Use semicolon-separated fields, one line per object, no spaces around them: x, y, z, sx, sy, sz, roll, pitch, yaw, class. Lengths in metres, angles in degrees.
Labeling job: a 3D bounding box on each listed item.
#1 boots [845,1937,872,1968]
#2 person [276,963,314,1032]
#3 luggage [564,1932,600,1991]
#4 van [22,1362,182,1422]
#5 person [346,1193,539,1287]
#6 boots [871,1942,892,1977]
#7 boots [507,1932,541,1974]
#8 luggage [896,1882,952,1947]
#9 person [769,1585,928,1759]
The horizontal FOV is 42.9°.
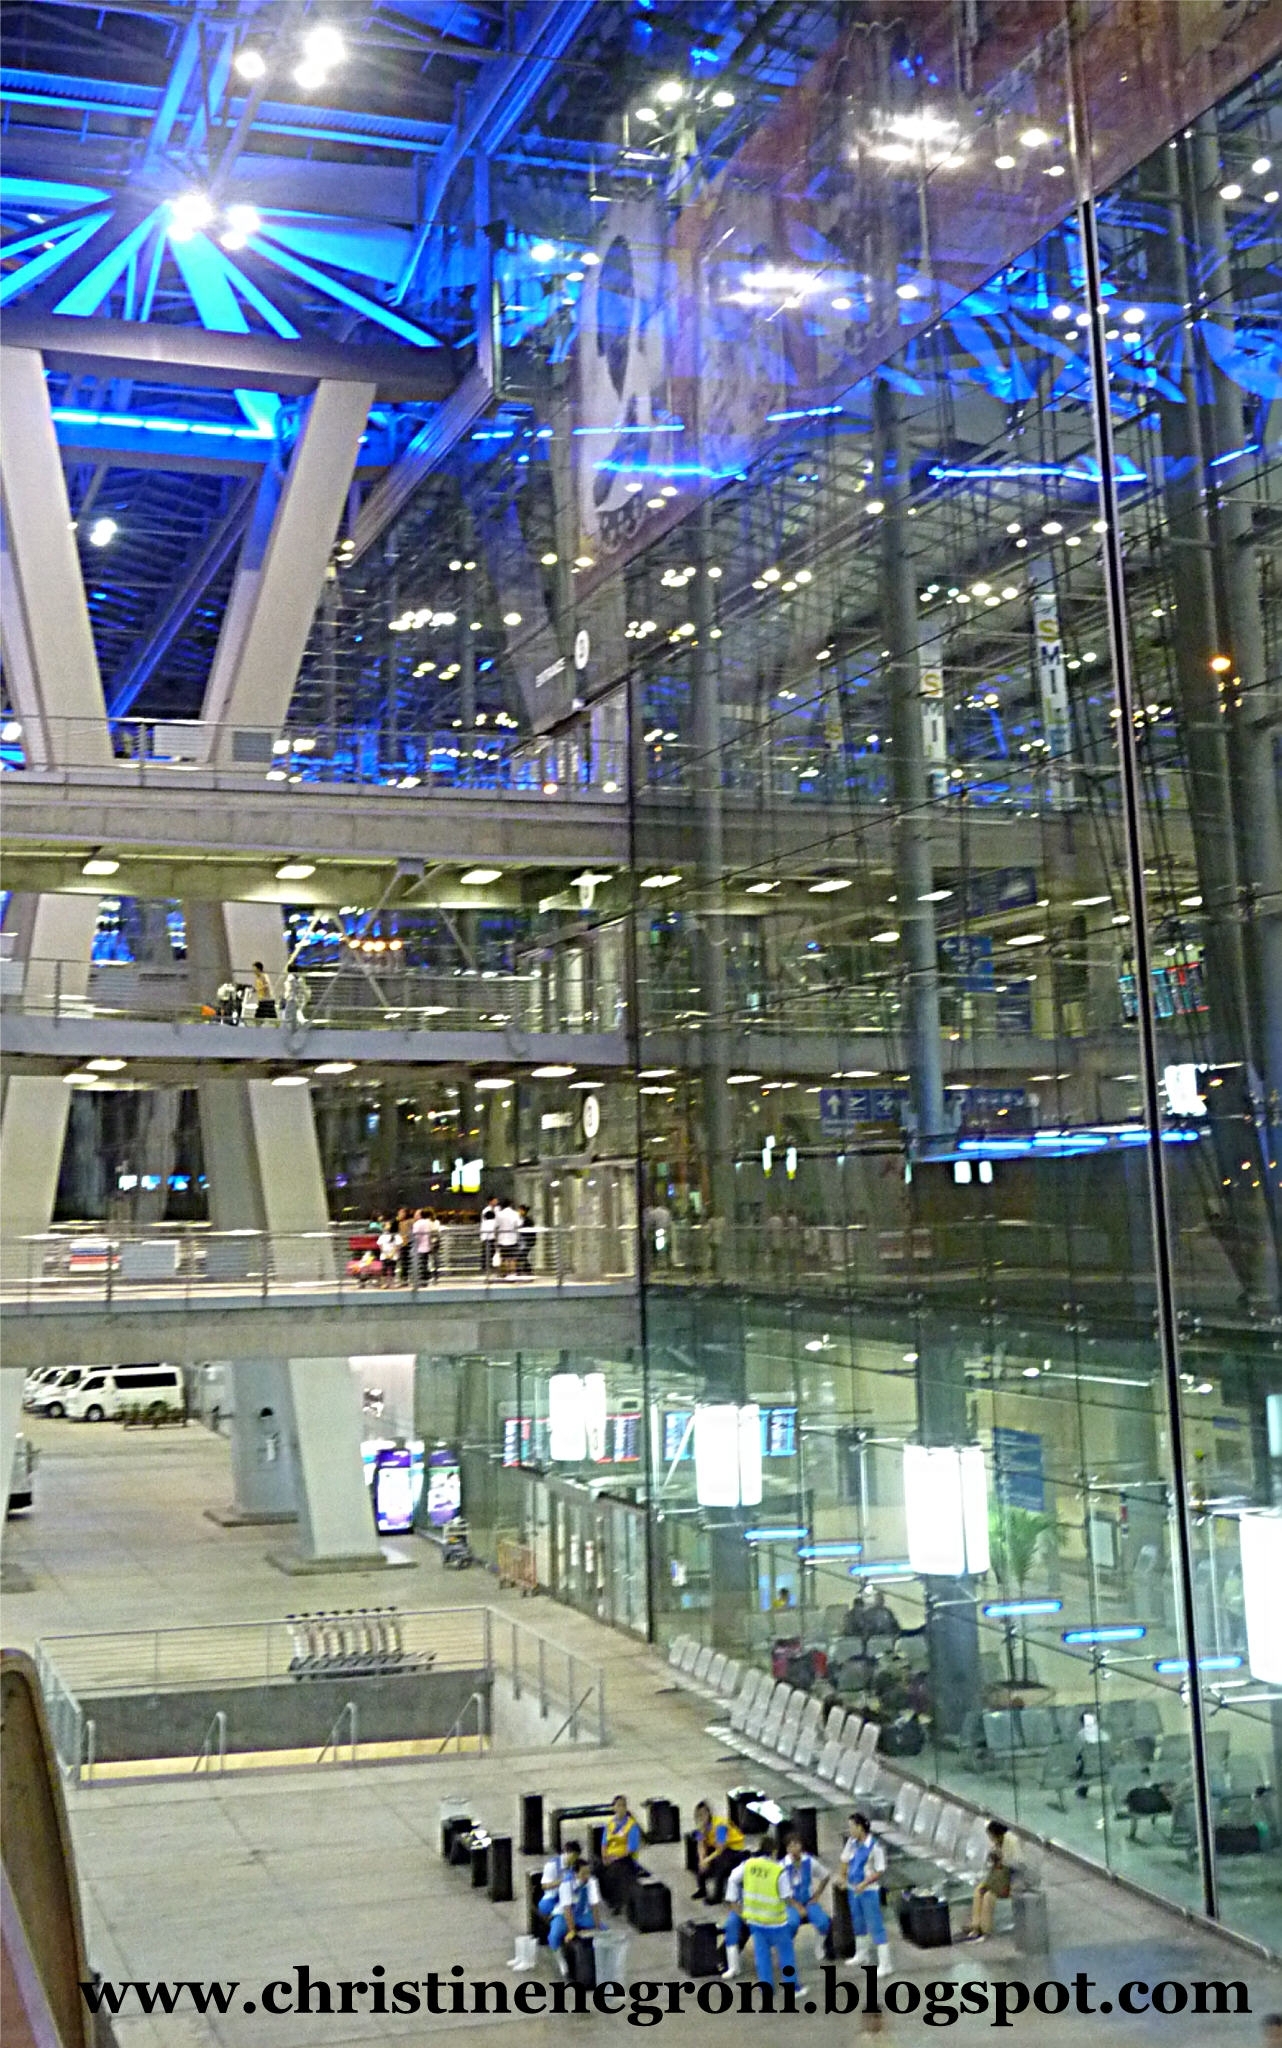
1.714;7.284;12.763;0.270;0.252;0.119;1;-15;4;boots
-5.508;-0.418;26.059;0.548;1.073;1.565;-2;-5;-12;person
-0.458;7.194;12.463;0.227;0.349;0.407;-2;-5;-8;luggage
-17.948;12.572;55.179;4.684;1.694;1.849;-3;-5;1;van
-3.063;3.433;25.181;3.039;1.132;0.951;2;-7;-43;person
1.874;7.265;12.652;0.120;0.243;0.404;-3;-5;8;boots
-0.939;7.519;13.213;0.286;0.273;0.229;3;-3;-37;boots
2.308;7.340;13.389;0.391;0.380;0.470;-1;-5;-21;luggage
2.325;7.295;18.469;0.842;1.114;1.964;3;-7;-13;person
